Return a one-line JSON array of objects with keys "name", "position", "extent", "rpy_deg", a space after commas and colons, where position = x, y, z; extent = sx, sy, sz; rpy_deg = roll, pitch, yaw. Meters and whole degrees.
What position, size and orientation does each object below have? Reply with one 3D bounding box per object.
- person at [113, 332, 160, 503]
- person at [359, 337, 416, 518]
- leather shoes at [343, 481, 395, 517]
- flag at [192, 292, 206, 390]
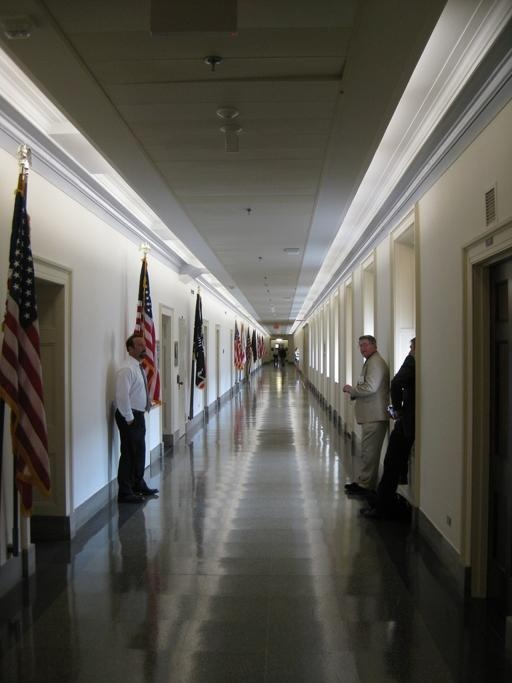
[{"name": "person", "position": [-1.317, 0.831, 5.159], "extent": [0.406, 1.813, 0.589], "rpy_deg": [-2, -3, 45]}, {"name": "person", "position": [1.227, 0.820, 4.410], "extent": [0.451, 1.631, 0.731], "rpy_deg": [0, -3, 15]}, {"name": "leather shoes", "position": [1.140, 1.604, 4.673], "extent": [0.134, 0.296, 0.528], "rpy_deg": [-2, 9, -18]}, {"name": "flag", "position": [-1.175, -0.022, 9.627], "extent": [0.232, 1.973, 0.836], "rpy_deg": [1, -2, -8]}]
